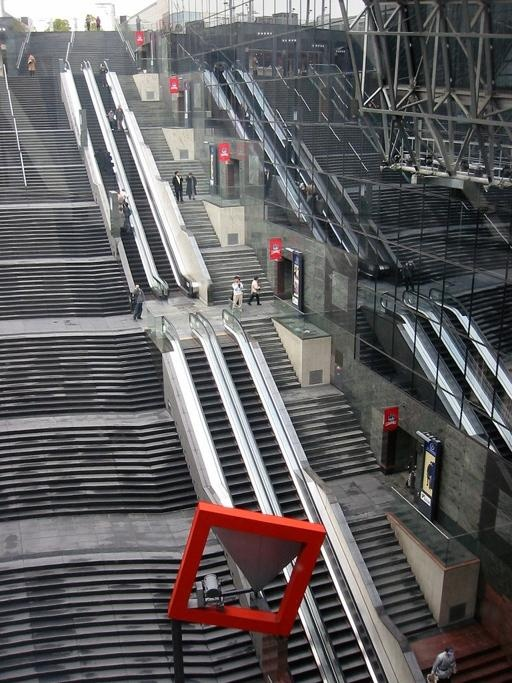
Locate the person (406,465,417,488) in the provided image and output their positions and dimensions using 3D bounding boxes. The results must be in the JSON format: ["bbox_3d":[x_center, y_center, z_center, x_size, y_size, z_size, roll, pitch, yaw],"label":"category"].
[{"bbox_3d":[4.045,3.574,17.764,0.271,0.743,0.555,-2,19,12],"label":"person"}]

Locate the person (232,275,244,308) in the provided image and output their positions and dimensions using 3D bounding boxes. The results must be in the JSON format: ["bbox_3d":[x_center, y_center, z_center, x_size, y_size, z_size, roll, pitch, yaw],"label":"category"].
[{"bbox_3d":[-0.697,-1.683,23.969,0.312,1.256,0.763,-9,18,-8],"label":"person"}]

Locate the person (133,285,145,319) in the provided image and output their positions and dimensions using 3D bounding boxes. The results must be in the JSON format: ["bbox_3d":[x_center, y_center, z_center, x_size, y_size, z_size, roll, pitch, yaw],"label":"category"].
[{"bbox_3d":[-4.053,-1.260,23.016,0.392,1.051,0.451,-9,18,-10],"label":"person"}]

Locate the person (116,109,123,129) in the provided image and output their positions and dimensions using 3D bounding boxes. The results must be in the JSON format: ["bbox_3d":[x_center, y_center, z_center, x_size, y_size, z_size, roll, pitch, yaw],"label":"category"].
[{"bbox_3d":[-6.575,-10.671,32.635,0.350,0.952,0.828,-8,18,-7],"label":"person"}]

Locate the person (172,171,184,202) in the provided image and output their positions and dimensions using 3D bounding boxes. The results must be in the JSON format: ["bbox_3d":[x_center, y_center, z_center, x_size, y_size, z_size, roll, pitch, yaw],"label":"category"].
[{"bbox_3d":[-3.299,-6.417,28.437,0.426,1.204,0.672,-7,18,-4],"label":"person"}]

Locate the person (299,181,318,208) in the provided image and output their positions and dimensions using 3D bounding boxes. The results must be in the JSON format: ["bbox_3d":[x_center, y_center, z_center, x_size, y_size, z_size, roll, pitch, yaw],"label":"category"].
[{"bbox_3d":[1.772,-4.996,22.891,0.287,0.388,1.354,1,44,-9],"label":"person"}]

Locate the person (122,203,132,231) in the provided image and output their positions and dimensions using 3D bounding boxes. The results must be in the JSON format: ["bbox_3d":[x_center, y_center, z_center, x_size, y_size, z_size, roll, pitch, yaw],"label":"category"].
[{"bbox_3d":[-5.173,-4.854,26.939,0.323,1.142,0.429,-7,18,-3],"label":"person"}]

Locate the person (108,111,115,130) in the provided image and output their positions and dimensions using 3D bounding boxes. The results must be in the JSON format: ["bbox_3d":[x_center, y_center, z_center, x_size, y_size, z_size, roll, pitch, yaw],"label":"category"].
[{"bbox_3d":[-6.968,-10.589,32.628,0.366,0.787,1.024,-9,19,-9],"label":"person"}]

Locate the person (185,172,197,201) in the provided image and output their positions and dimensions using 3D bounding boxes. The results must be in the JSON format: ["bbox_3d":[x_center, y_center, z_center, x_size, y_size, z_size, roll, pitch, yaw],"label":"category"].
[{"bbox_3d":[-2.781,-6.524,28.851,0.568,1.014,0.272,-11,18,-15],"label":"person"}]

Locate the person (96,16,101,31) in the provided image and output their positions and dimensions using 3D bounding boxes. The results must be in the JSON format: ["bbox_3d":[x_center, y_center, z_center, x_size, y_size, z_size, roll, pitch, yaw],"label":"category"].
[{"bbox_3d":[-11.317,-22.674,48.544,0.320,0.875,1.328,-9,19,-10],"label":"person"}]
